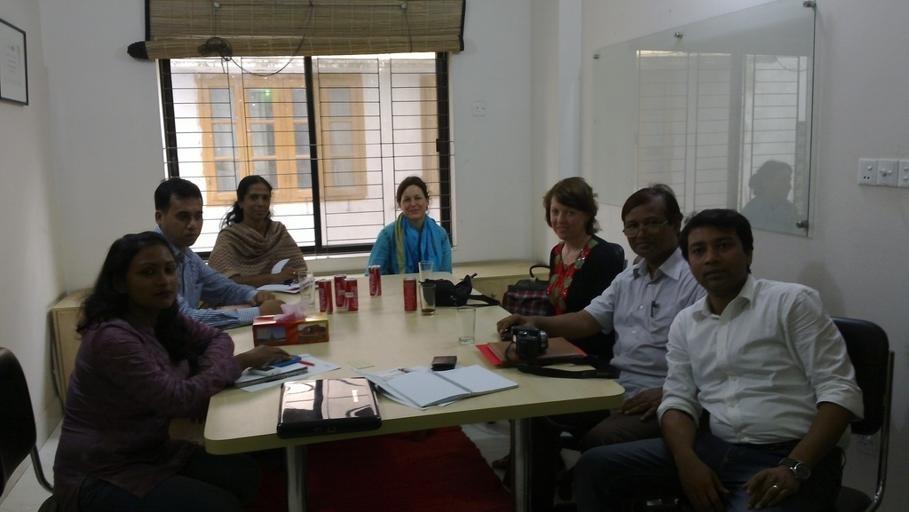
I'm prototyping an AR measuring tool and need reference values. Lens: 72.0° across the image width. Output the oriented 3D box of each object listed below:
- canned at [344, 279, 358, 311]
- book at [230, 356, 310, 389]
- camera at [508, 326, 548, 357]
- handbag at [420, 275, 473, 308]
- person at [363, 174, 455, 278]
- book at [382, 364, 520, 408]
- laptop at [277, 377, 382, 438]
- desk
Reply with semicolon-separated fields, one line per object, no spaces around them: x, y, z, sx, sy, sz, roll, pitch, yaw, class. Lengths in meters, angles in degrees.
-0.695;0.252;3.985;0.148;0.181;0.131;-1;-10;-9;canned
-0.950;0.596;3.162;0.451;0.039;0.244;-7;14;-20;book
0.391;0.445;3.242;0.156;0.107;0.193;-1;6;-12;camera
-0.047;0.230;4.017;0.270;0.099;0.187;-4;5;6;handbag
-0.349;-0.225;5.312;0.953;1.221;0.747;0;-1;-7;person
-0.042;0.632;3.095;0.648;0.093;0.307;-6;10;-17;book
-0.589;0.711;2.961;0.465;0.163;0.320;-5;10;-8;laptop
-0.347;0.609;3.232;1.181;0.718;1.509;-3;3;-18;desk
